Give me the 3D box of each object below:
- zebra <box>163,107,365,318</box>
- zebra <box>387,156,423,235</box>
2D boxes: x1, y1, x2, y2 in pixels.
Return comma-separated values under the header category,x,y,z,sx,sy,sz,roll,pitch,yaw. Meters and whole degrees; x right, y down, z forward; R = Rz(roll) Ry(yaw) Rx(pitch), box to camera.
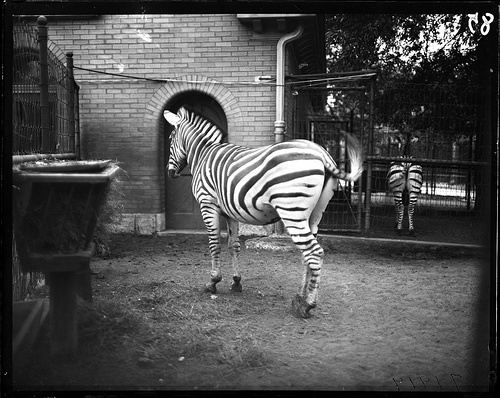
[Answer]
category,x,y,z,sx,sy,sz,roll,pitch,yaw
zebra,-0.023,0.044,5.316,1.968,1.723,0.553,5,1,34
zebra,1.812,-0.065,7.151,0.304,0.996,1.140,1,1,16
